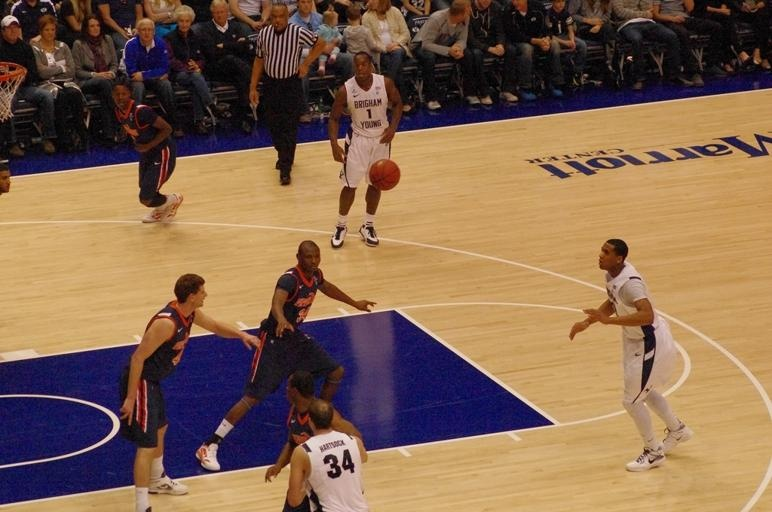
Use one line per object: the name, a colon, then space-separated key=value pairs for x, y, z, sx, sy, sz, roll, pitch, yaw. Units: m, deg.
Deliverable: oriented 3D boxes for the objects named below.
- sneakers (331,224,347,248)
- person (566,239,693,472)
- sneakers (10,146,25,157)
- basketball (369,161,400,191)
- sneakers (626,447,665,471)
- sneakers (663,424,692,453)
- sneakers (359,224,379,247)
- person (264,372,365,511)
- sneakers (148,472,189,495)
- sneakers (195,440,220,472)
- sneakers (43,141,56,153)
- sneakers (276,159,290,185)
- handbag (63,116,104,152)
sneakers: x=-0.642 y=-0.282 z=11.731 sx=0.137 sy=0.148 sz=0.377 roll=4 pitch=43 yaw=6
person: x=2.377 y=0.931 z=8.134 sx=1.024 sy=2.168 sz=0.625 roll=-4 pitch=14 yaw=-1
sneakers: x=-6.168 y=-1.738 z=14.256 sx=0.139 sy=0.109 sz=0.239 roll=-34 pitch=41 yaw=-20
basketball: x=-0.046 y=-1.082 z=11.490 sx=0.405 sy=0.388 sz=0.388 roll=2 pitch=-16 yaw=-25
sneakers: x=2.478 y=1.932 z=8.195 sx=0.452 sy=0.185 sz=0.158 roll=-11 pitch=18 yaw=-10
sneakers: x=2.829 y=1.785 z=8.267 sx=0.310 sy=0.141 sz=0.105 roll=-42 pitch=16 yaw=26
sneakers: x=-0.196 y=-0.289 z=11.839 sx=0.172 sy=0.172 sz=0.407 roll=-9 pitch=38 yaw=-27
person: x=-0.631 y=1.632 z=7.309 sx=0.727 sy=1.523 sz=0.537 roll=7 pitch=31 yaw=-23
sneakers: x=-2.000 y=2.117 z=7.982 sx=0.417 sy=0.191 sz=0.158 roll=1 pitch=21 yaw=-8
sneakers: x=-1.720 y=1.933 z=8.246 sx=0.150 sy=0.154 sz=0.340 roll=-1 pitch=21 yaw=-45
sneakers: x=-5.755 y=-1.861 z=14.593 sx=0.198 sy=0.218 sz=0.358 roll=-9 pitch=15 yaw=-20
sneakers: x=-1.604 y=-1.317 z=13.405 sx=0.165 sy=0.197 sz=0.466 roll=-8 pitch=45 yaw=-16
handbag: x=-5.308 y=-2.134 z=14.901 sx=0.637 sy=0.569 sz=0.772 roll=-7 pitch=14 yaw=-14
